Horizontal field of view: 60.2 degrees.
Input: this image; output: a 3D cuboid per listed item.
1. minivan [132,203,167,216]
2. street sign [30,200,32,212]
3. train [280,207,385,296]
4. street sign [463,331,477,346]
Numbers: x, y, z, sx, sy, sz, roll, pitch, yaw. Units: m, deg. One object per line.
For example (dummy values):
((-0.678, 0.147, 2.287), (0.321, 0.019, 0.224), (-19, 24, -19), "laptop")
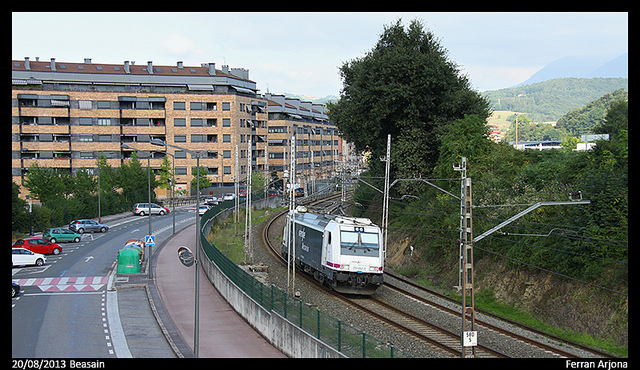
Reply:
((-27.215, 3.854, 88.687), (4.776, 1.505, 2.302), (-2, 4, -17), "minivan")
((-35.748, 2.752, 68.359), (0.229, 0.783, 0.499), (-2, 3, -27), "street sign")
((0.557, 5.079, 47.619), (4.301, 5.727, 14.183), (5, 1, -22), "train")
((8.209, 8.458, 30.323), (0.830, 0.754, 0.418), (-1, 4, -2), "street sign")
